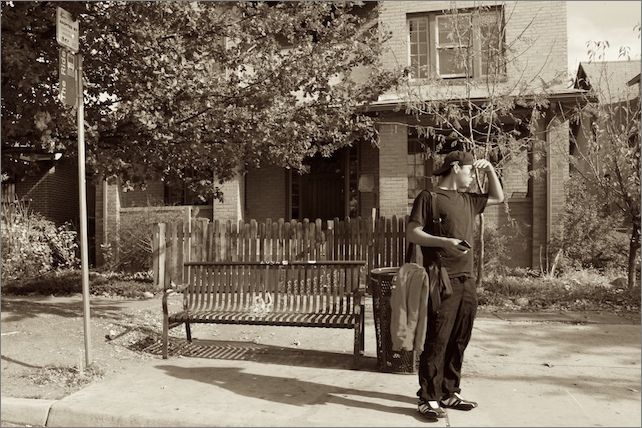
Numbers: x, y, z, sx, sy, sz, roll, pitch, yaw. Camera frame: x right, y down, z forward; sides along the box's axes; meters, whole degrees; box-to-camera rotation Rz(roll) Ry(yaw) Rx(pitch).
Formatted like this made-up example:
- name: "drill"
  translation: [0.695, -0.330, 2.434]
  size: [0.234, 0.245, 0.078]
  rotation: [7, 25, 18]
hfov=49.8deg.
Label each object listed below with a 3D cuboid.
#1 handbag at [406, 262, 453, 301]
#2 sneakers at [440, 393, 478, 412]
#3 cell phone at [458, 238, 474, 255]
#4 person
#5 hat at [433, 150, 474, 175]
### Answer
- name: "handbag"
  translation: [1.643, 0.994, 10.206]
  size: [0.453, 0.912, 0.510]
  rotation: [-10, -3, 2]
- name: "sneakers"
  translation: [2.068, 2.817, 10.365]
  size: [0.575, 0.243, 0.220]
  rotation: [-2, 1, 11]
- name: "cell phone"
  translation: [2.097, 0.477, 10.015]
  size: [0.166, 0.063, 0.176]
  rotation: [8, -37, 48]
- name: "person"
  translation: [1.959, 1.025, 10.305]
  size: [1.315, 3.991, 0.546]
  rotation: [0, 0, -19]
- name: "hat"
  translation: [2.015, -0.778, 10.524]
  size: [0.508, 0.267, 0.348]
  rotation: [1, 1, 5]
